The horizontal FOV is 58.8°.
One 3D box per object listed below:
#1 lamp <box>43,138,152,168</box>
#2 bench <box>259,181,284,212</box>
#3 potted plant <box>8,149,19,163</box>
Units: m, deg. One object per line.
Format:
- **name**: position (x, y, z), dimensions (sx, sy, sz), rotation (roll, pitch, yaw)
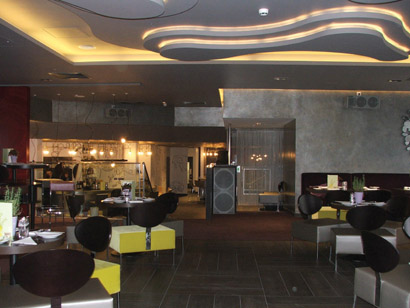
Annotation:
- **lamp**: position (-3.939, -0.025, 13.666), dimensions (4.070, 1.085, 2.307), rotation (0, 4, -17)
- **bench**: position (2.254, 1.449, 12.545), dimensions (0.737, 0.870, 0.960), rotation (0, 2, 15)
- **potted plant**: position (-3.488, 0.037, 6.621), dimensions (0.161, 0.241, 0.499), rotation (-1, 4, -27)
